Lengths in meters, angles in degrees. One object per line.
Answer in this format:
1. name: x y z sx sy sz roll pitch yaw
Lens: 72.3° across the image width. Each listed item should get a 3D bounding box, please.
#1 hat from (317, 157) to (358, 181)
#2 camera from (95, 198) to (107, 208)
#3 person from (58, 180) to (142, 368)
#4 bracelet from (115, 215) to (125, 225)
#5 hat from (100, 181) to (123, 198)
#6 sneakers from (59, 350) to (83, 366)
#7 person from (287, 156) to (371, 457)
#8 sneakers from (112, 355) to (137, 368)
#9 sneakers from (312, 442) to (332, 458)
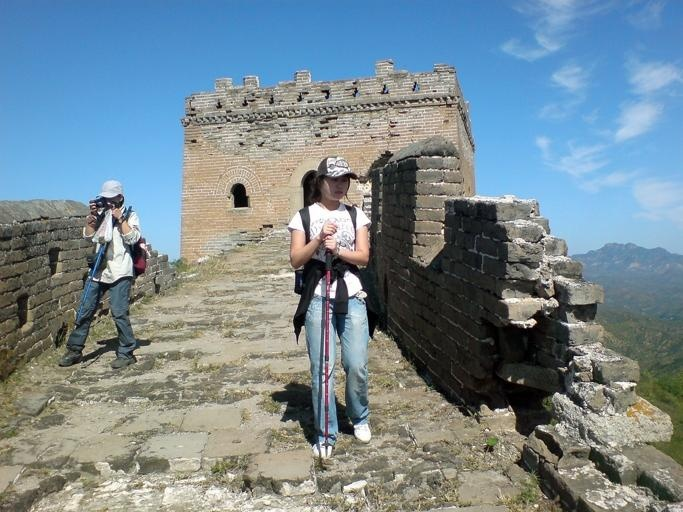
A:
1. hat: -0.049 -0.795 4.197 0.332 0.188 0.258 -2 8 -8
2. camera: -3.249 -0.717 6.301 0.159 0.136 0.091 -5 8 -28
3. person: -3.218 0.245 6.392 0.906 2.493 0.535 0 7 5
4. bracelet: -2.991 -0.473 6.328 0.093 0.067 0.125 -21 -3 -17
5. hat: -3.079 -0.887 6.257 0.247 0.215 0.209 -5 9 -33
6. sneakers: -3.685 1.400 6.330 0.135 0.181 0.254 4 -11 38
7. person: -0.089 0.441 4.232 0.733 2.627 0.584 -1 7 -2
8. sneakers: -2.967 1.452 6.351 0.102 0.154 0.303 0 -6 35
9. sneakers: -0.167 1.716 4.147 0.192 0.132 0.156 -1 7 -3
